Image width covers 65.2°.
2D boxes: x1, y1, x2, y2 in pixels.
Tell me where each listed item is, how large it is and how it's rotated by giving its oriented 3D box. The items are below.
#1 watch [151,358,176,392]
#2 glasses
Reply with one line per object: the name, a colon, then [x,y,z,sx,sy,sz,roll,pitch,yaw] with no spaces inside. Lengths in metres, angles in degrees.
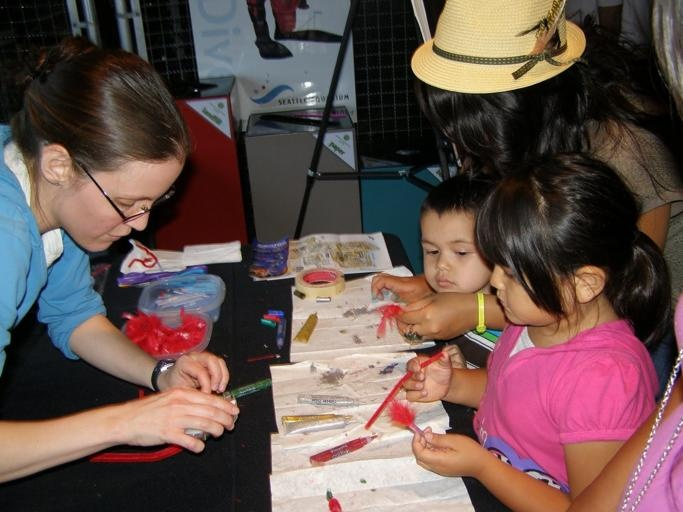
watch: [-0.537,0.348,1.577,0.023,0.079,0.079,16,18,-17]
glasses: [-0.608,-0.159,1.416,0.042,0.148,0.142,-36,3,12]
